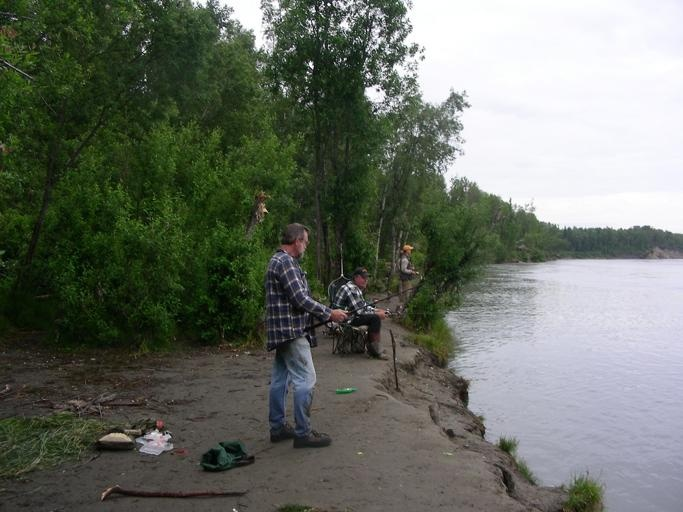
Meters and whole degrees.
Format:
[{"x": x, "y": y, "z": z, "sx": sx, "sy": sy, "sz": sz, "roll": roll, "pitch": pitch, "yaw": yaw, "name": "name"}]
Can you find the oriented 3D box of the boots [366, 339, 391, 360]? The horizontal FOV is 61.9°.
[{"x": 1.053, "y": 2.553, "z": 15.199, "sx": 0.817, "sy": 0.441, "sz": 0.269, "roll": -1, "pitch": 1, "yaw": 10, "name": "boots"}]
